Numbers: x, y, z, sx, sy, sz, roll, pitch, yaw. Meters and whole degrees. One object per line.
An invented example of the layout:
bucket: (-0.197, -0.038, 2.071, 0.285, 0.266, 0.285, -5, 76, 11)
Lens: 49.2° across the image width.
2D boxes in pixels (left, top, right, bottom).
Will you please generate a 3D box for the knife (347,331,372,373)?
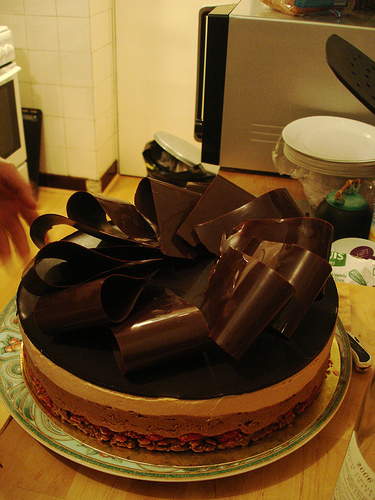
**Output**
knife: (0.254, 0.158, 0.610, 0.015, 0.013, 0.050, -3, 27, -6)

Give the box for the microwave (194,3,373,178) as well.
microwave: (0.224, -0.467, 1.197, 0.482, 0.416, 0.451, 6, 33, 6)

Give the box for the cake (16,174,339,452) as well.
cake: (0.004, 0.053, 0.571, 0.397, 0.173, 0.391, -26, 36, -18)
